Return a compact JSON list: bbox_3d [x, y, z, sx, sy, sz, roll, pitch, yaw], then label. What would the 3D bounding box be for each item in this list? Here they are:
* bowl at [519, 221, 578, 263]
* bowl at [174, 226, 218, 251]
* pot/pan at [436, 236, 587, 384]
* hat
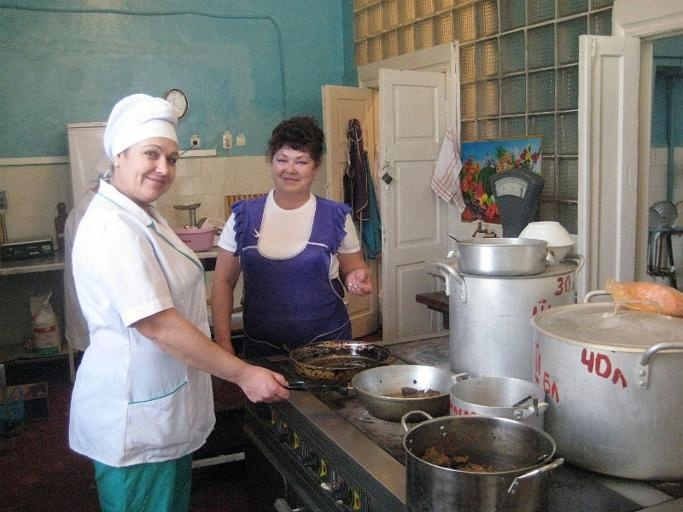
[{"bbox_3d":[0.717,-0.060,1.974,0.161,0.107,0.177,-1,3,-2],"label":"bowl"},{"bbox_3d":[-1.167,-0.142,4.656,0.279,0.188,0.330,-1,0,-7],"label":"bowl"},{"bbox_3d":[0.440,0.141,1.797,0.454,0.408,0.355,-2,6,-7],"label":"pot/pan"},{"bbox_3d":[-0.613,-0.413,1.807,0.210,0.192,0.160,2,17,26],"label":"hat"}]
